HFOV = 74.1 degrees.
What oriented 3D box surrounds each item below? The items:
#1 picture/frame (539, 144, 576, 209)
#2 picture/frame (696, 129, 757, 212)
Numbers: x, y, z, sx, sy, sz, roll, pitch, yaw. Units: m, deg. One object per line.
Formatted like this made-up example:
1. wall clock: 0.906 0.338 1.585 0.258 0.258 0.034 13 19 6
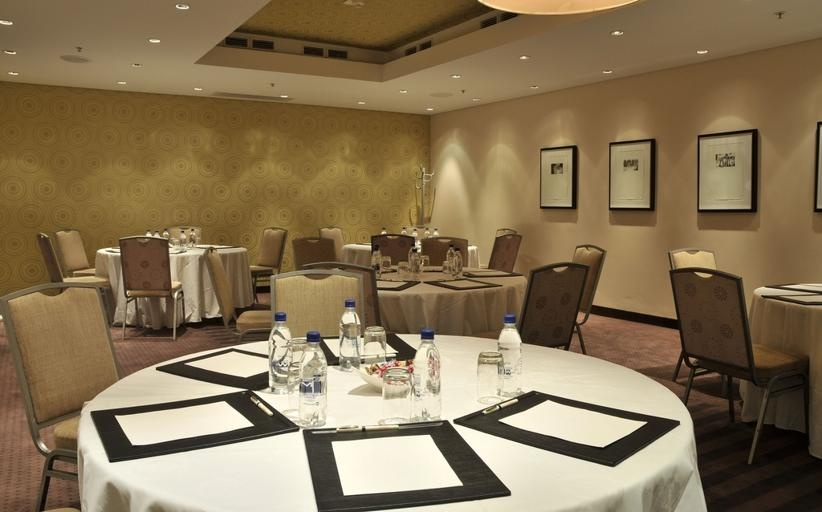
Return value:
1. picture/frame: 2.285 -1.212 8.470 0.141 0.964 0.738 -9 15 -34
2. picture/frame: 3.812 -1.015 6.577 0.737 0.974 0.279 9 15 36
